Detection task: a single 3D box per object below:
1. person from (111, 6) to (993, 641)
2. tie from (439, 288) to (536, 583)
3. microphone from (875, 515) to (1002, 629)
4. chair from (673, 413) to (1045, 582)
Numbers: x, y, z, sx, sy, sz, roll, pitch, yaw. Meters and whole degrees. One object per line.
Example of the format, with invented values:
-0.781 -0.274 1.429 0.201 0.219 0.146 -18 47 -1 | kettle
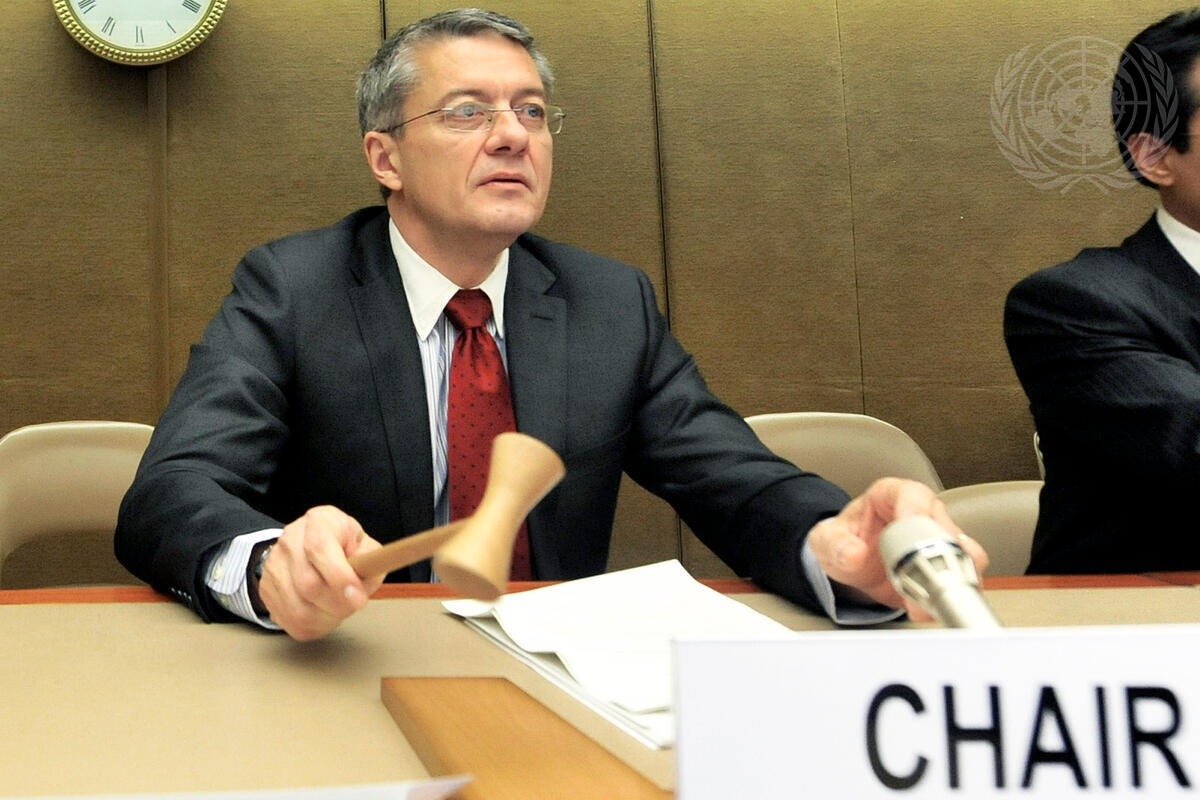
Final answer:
-0.235 -0.155 1.665 1.069 1.032 1.109 -3 14 -12 | person
-0.210 0.057 1.902 0.169 0.105 0.555 -5 63 -5 | tie
0.321 0.160 0.976 0.049 0.042 0.149 -24 22 -5 | microphone
0.607 0.202 2.374 0.560 0.529 0.450 -8 -19 -13 | chair
